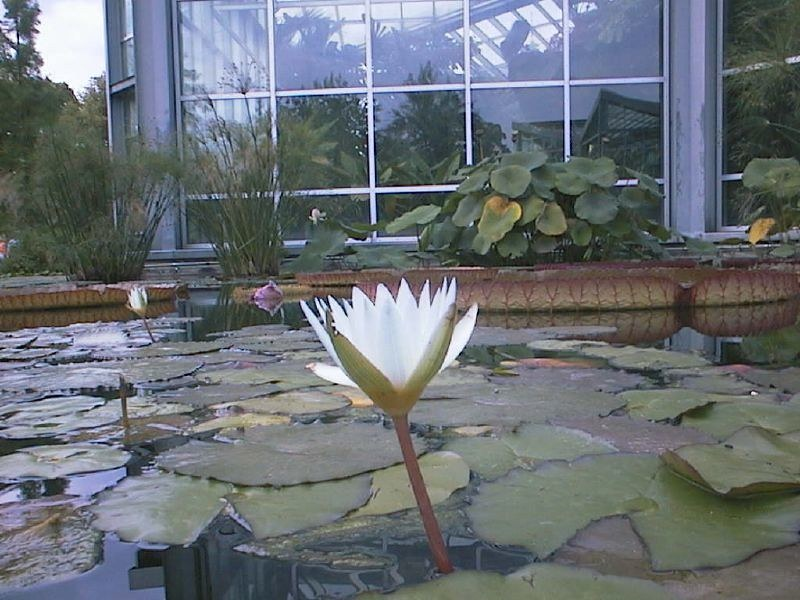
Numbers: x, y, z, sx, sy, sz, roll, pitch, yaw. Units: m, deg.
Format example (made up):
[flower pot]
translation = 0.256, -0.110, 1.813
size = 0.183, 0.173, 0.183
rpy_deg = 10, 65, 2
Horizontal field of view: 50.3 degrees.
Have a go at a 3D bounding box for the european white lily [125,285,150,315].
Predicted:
[european white lily]
translation = -1.310, 0.009, 4.236
size = 0.146, 0.073, 0.145
rpy_deg = -20, -17, -8
